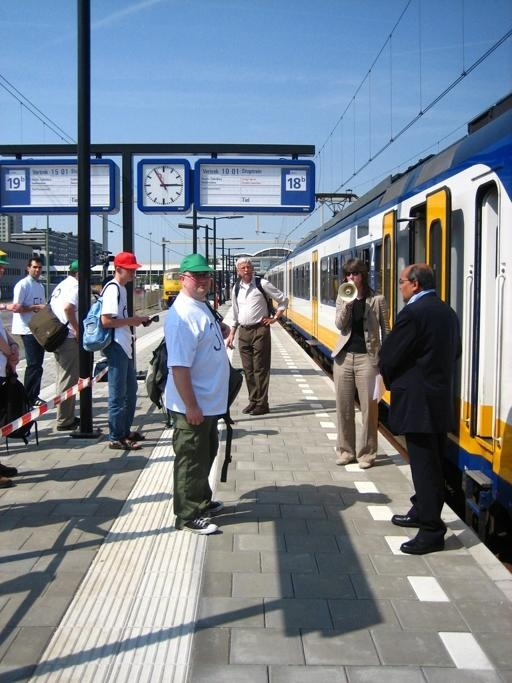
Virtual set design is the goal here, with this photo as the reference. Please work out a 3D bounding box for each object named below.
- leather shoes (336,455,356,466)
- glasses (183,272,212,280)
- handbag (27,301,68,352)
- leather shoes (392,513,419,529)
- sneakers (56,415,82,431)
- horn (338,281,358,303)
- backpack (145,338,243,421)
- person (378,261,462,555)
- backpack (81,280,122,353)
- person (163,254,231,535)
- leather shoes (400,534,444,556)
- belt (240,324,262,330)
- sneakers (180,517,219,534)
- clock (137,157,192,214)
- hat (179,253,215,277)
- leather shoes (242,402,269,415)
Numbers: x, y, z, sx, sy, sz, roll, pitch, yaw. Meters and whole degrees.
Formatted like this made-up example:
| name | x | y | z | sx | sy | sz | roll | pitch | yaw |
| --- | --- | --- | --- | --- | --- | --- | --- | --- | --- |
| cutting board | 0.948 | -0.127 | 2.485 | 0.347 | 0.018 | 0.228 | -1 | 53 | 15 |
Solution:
| name | x | y | z | sx | sy | sz | roll | pitch | yaw |
| --- | --- | --- | --- | --- | --- | --- | --- | --- | --- |
| leather shoes | 0.862 | 1.156 | 5.414 | 0.077 | 0.086 | 0.209 | -1 | -12 | 41 |
| glasses | -0.377 | -0.412 | 3.486 | 0.153 | 0.049 | 0.069 | 0 | 0 | -12 |
| handbag | -2.479 | -0.157 | 6.700 | 0.345 | 0.507 | 0.293 | -40 | -20 | 3 |
| leather shoes | 1.010 | 1.225 | 3.809 | 0.192 | 0.084 | 0.078 | 6 | -6 | 8 |
| sneakers | -2.220 | 0.980 | 6.731 | 0.342 | 0.154 | 0.128 | -2 | 4 | -20 |
| horn | 0.809 | -0.438 | 4.923 | 0.153 | 0.183 | 0.224 | -3 | 6 | 7 |
| backpack | -0.449 | 0.226 | 3.983 | 0.441 | 0.892 | 0.737 | 0 | -9 | 1 |
| person | 1.019 | 0.391 | 3.481 | 0.522 | 1.775 | 0.354 | 0 | 0 | 5 |
| backpack | -1.535 | -0.268 | 5.644 | 0.304 | 0.740 | 0.434 | -5 | -1 | 4 |
| person | -0.384 | 0.347 | 3.601 | 0.394 | 1.811 | 0.748 | 0 | 0 | 2 |
| leather shoes | 0.997 | 1.221 | 3.376 | 0.258 | 0.124 | 0.108 | 2 | -6 | -8 |
| belt | -0.069 | -0.218 | 8.044 | 0.303 | 0.086 | 0.081 | 0 | 0 | 11 |
| sneakers | -0.366 | 1.193 | 3.653 | 0.252 | 0.106 | 0.096 | -3 | 16 | 0 |
| clock | -1.672 | -2.836 | 10.154 | 0.938 | 0.953 | 0.161 | 0 | 0 | 2 |
| hat | -0.391 | -0.480 | 3.558 | 0.218 | 0.153 | 0.295 | -1 | 3 | -30 |
| leather shoes | 0.004 | 0.967 | 8.023 | 0.263 | 0.117 | 0.161 | 8 | -7 | -33 |
